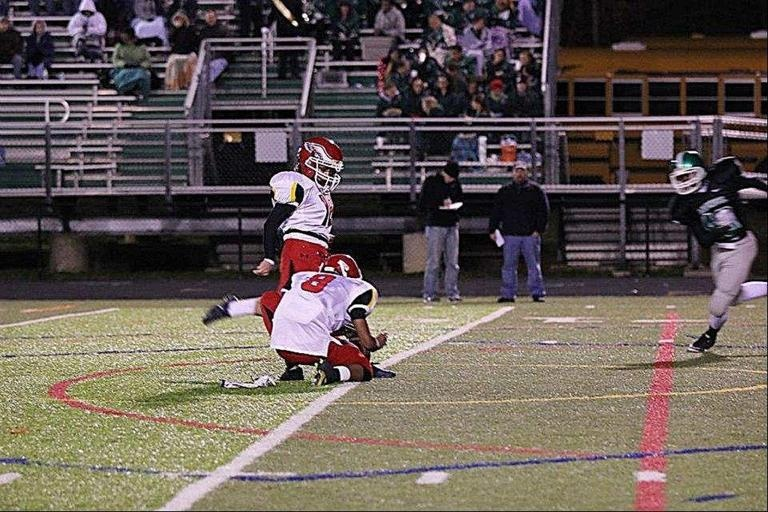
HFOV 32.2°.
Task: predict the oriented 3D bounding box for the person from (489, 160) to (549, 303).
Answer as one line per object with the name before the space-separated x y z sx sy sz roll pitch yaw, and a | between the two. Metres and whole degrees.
person | 2.187 -0.373 21.889 0.947 2.291 0.394 -1 7 4

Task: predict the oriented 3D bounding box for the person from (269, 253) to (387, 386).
person | -0.644 0.728 14.230 1.418 0.976 1.531 6 13 -3

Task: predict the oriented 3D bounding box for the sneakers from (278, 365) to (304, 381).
sneakers | -0.978 1.239 14.034 0.166 0.190 0.206 0 -21 -8

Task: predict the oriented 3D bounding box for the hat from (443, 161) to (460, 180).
hat | 1.096 -1.421 21.838 0.253 0.222 0.319 13 -6 -23

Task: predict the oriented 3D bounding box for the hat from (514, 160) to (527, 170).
hat | 2.220 -1.512 21.946 0.225 0.110 0.345 0 3 10

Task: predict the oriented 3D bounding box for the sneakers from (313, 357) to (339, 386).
sneakers | -0.616 1.217 13.780 0.252 0.259 0.270 -2 6 -6

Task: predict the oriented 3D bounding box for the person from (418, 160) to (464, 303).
person | 0.919 -0.385 21.805 0.717 2.343 0.569 -3 7 -8

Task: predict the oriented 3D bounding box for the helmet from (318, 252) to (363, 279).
helmet | -0.473 0.091 14.224 0.398 0.233 0.289 -6 -17 -7
